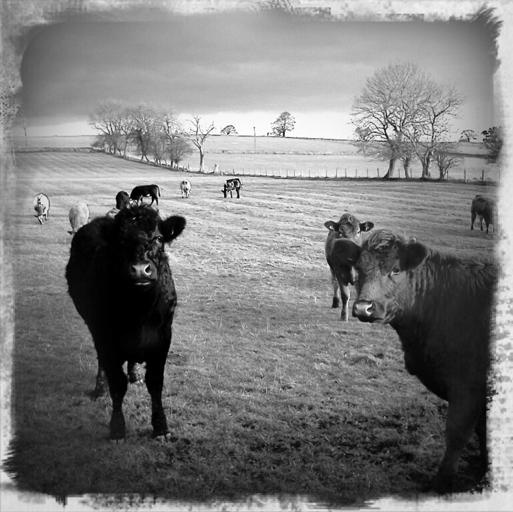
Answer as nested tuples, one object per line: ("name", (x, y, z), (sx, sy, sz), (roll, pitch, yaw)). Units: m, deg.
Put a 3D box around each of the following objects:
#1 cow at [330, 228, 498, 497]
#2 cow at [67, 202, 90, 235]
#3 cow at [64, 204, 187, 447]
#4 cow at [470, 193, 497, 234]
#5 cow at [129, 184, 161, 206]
("cow", (1.634, 0.951, 4.568), (0.756, 2.058, 2.736), (-11, -14, 40))
("cow", (-2.546, -0.522, 7.512), (0.150, 0.311, 0.601), (4, 48, -11))
("cow", (-1.149, 0.602, 4.734), (0.626, 2.152, 1.567), (-2, 8, -33))
("cow", (2.838, -0.550, 6.712), (0.536, 0.371, 0.136), (10, -4, -43))
("cow", (-1.731, -0.922, 8.023), (0.362, 0.340, 0.772), (5, 8, 16))
